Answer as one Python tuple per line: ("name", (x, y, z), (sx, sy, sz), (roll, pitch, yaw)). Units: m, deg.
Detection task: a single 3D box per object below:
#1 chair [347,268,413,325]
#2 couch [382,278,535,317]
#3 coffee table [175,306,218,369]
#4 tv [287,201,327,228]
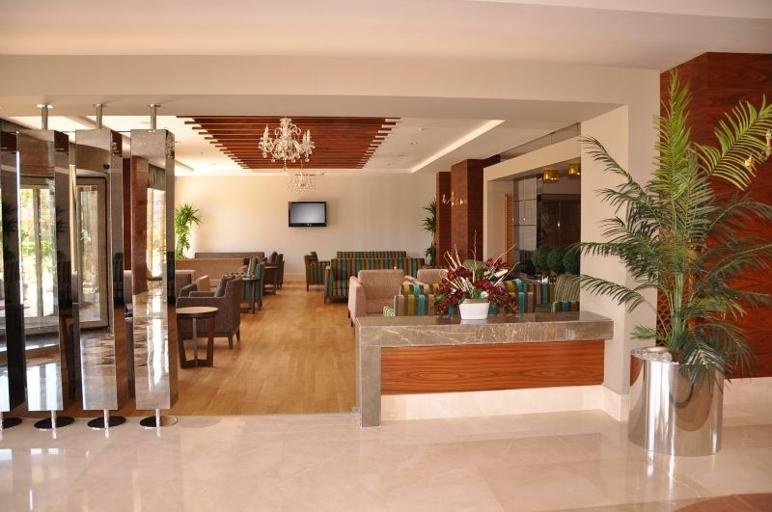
("chair", (-0.131, 0.703, 10.272), (1.102, 0.973, 0.999), (0, -3, -8))
("couch", (0.928, 0.525, 7.170), (1.681, 0.330, 0.810), (-1, 11, -6))
("coffee table", (-2.749, 1.122, 8.364), (0.559, 0.865, 0.850), (-4, 12, -17))
("tv", (-2.415, -1.273, 17.368), (0.895, 0.551, 0.085), (0, -2, -5))
